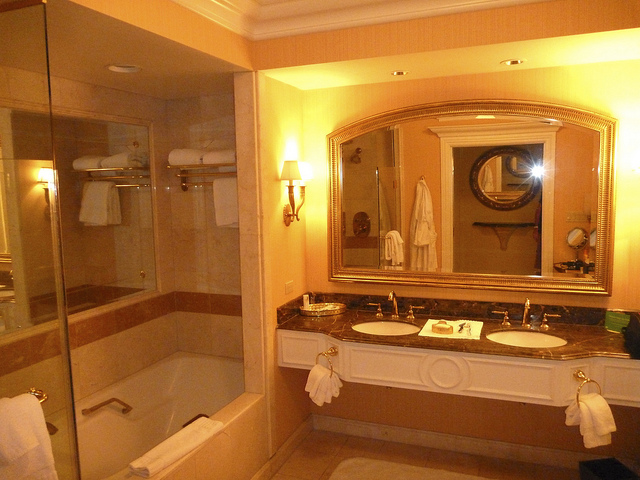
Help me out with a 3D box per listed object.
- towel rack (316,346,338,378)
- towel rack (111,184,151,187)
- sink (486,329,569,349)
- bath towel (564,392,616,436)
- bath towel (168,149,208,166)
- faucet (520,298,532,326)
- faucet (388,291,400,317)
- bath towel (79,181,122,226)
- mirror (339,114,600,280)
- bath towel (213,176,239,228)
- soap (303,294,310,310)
[{"bbox_3d":[0.041,0.841,3.547,0.148,0.181,0.048,9,10,38],"label":"towel rack"},{"bbox_3d":[-1.506,-0.431,4.045,0.308,0.035,0.034,-4,7,-36],"label":"towel rack"},{"bbox_3d":[1.372,0.671,3.420,0.487,0.109,0.222,0,5,17],"label":"sink"},{"bbox_3d":[1.653,1.022,3.111,0.244,0.325,0.124,-1,3,-6],"label":"bath towel"},{"bbox_3d":[-1.064,-0.669,4.141,0.341,0.129,0.061,1,6,22],"label":"bath towel"},{"bbox_3d":[1.447,0.502,3.590,0.070,0.181,0.123,1,6,23],"label":"faucet"},{"bbox_3d":[0.566,0.475,3.905,0.074,0.194,0.167,0,5,8],"label":"faucet"},{"bbox_3d":[-1.660,-0.270,3.880,0.087,0.307,0.271,17,10,42],"label":"bath towel"},{"bbox_3d":[1.061,-0.390,3.764,2.033,1.391,0.057,1,1,12],"label":"mirror"},{"bbox_3d":[-0.754,-0.312,4.126,0.342,0.359,0.085,1,9,9],"label":"bath towel"},{"bbox_3d":[-0.107,0.479,3.971,0.047,0.107,0.096,-2,5,-3],"label":"soap"}]
